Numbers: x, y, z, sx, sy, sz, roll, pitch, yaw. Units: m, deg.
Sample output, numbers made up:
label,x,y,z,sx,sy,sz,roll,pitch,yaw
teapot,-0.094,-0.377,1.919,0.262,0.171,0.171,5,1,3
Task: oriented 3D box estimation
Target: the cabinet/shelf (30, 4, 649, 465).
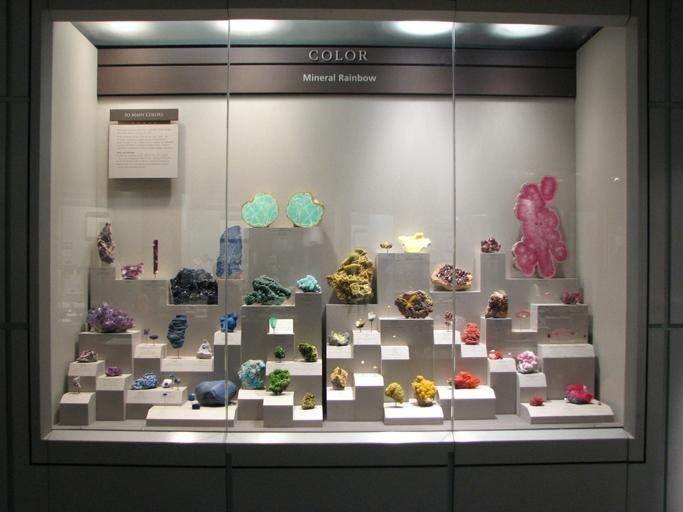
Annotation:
label,x,y,z,sx,sy,sz,roll,pitch,yaw
cabinet/shelf,-0.021,-0.078,4.986,3.161,2.495,0.981,0,2,0
